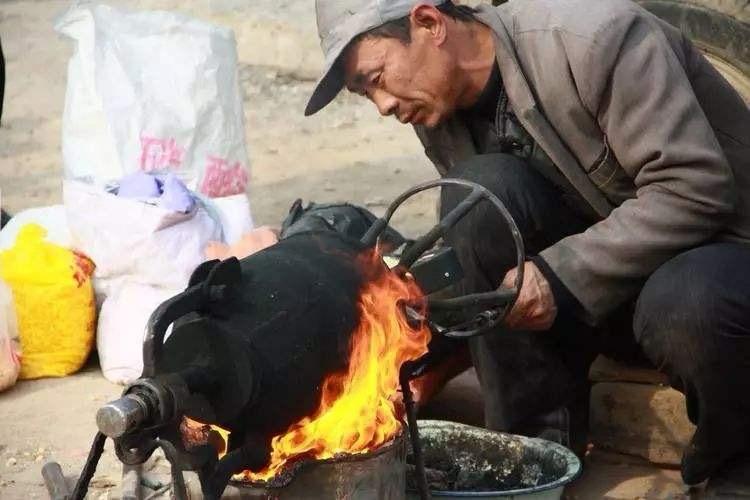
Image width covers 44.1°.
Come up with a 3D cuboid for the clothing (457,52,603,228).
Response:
[{"bbox_3d":[0.710,-0.426,4.382,0.280,0.739,0.556,-37,13,0],"label":"clothing"}]

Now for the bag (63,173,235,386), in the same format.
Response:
[{"bbox_3d":[-1.109,0.001,5.095,0.624,0.758,0.505,5,0,-10],"label":"bag"}]

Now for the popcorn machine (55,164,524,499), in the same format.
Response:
[{"bbox_3d":[-0.207,0.444,3.723,1.019,1.187,1.839,18,30,35],"label":"popcorn machine"}]
